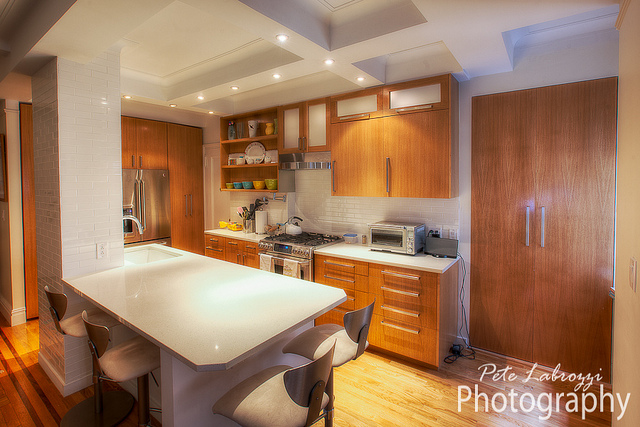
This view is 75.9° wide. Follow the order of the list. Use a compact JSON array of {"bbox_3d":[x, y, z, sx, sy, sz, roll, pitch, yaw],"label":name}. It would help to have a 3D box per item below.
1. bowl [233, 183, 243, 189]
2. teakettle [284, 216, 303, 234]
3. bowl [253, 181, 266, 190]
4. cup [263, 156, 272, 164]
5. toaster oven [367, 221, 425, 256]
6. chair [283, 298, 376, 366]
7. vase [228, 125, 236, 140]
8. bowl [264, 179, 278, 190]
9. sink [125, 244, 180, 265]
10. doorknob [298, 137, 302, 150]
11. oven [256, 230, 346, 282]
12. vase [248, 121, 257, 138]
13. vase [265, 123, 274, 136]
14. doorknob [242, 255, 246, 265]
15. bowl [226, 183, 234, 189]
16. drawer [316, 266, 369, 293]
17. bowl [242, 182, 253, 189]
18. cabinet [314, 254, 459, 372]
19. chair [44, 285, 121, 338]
[{"bbox_3d":[-1.269,-0.435,6.363,0.156,0.086,0.057,1,3,17],"label":"bowl"},{"bbox_3d":[-0.384,0.166,5.787,0.275,0.234,0.189,4,1,-8],"label":"teakettle"},{"bbox_3d":[-0.904,-0.422,6.045,0.208,0.123,0.110,0,3,12],"label":"bowl"},{"bbox_3d":[-0.766,-0.792,5.998,0.100,0.063,0.097,-3,5,0],"label":"cup"},{"bbox_3d":[0.906,0.294,4.969,0.612,0.350,0.378,5,9,34],"label":"toaster oven"},{"bbox_3d":[0.107,1.019,3.540,0.617,0.658,0.539,12,16,39],"label":"chair"},{"bbox_3d":[-1.371,-1.254,6.347,0.117,0.207,0.073,0,3,7],"label":"vase"},{"bbox_3d":[-0.706,-0.426,5.877,0.157,0.103,0.155,0,4,0],"label":"bowl"},{"bbox_3d":[-2.078,0.476,4.852,0.292,0.146,0.386,6,4,37],"label":"sink"},{"bbox_3d":[-0.286,-0.947,5.522,0.018,0.159,0.064,-1,3,-18],"label":"doorknob"},{"bbox_3d":[-0.312,0.727,5.491,0.872,0.821,0.617,7,10,34],"label":"oven"},{"bbox_3d":[-1.008,-1.267,6.118,0.130,0.244,0.098,0,3,-7],"label":"vase"},{"bbox_3d":[-0.721,-1.207,5.877,0.163,0.188,0.161,-6,13,-31],"label":"vase"},{"bbox_3d":[-1.081,0.649,5.806,0.023,0.140,0.070,-2,3,-35],"label":"doorknob"},{"bbox_3d":[-1.426,-0.445,6.513,0.102,0.094,0.188,-1,3,-25],"label":"bowl"},{"bbox_3d":[0.304,0.740,4.912,0.591,0.242,0.398,6,7,41],"label":"drawer"},{"bbox_3d":[-1.100,-0.435,6.229,0.108,0.071,0.106,-1,6,0],"label":"bowl"},{"bbox_3d":[0.803,1.045,5.053,1.672,1.088,0.841,4,8,38],"label":"cabinet"},{"bbox_3d":[-2.186,0.863,3.829,0.642,0.387,0.593,1,5,16],"label":"chair"}]
